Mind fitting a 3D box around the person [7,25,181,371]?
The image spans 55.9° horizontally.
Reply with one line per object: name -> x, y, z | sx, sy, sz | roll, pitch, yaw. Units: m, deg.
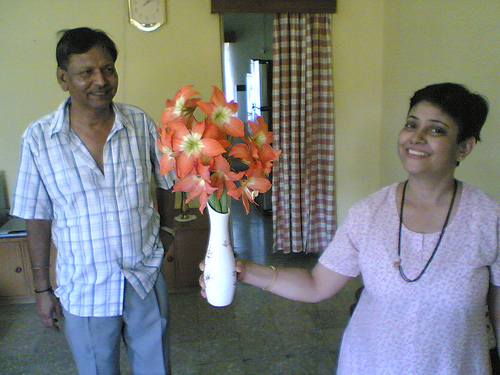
person -> -0.735, 0.081, 2.228 | 0.754, 1.626, 0.481 | -5, 15, -9

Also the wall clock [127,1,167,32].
wall clock -> -0.887, -1.468, 4.013 | 0.286, 0.367, 0.051 | -1, 11, -10

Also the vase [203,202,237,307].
vase -> -0.098, 0.264, 1.807 | 0.127, 0.357, 0.127 | 2, 13, 5

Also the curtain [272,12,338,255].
curtain -> 0.496, -0.431, 4.397 | 0.622, 2.287, 0.301 | -2, 15, 3
